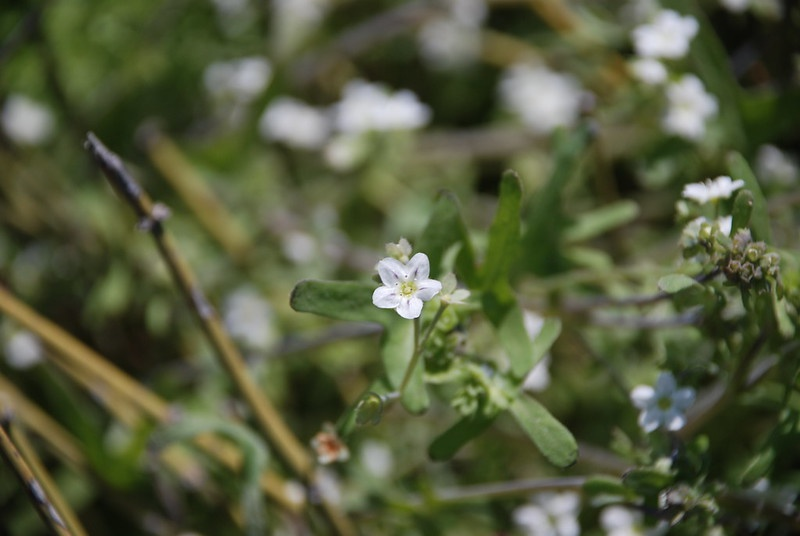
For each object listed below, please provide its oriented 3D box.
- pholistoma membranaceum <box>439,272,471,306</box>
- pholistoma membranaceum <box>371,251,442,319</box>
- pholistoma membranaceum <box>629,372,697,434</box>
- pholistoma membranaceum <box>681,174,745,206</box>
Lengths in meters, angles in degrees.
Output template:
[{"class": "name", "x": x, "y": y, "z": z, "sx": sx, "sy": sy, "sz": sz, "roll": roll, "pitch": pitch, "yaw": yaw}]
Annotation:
[{"class": "pholistoma membranaceum", "x": 0.095, "y": 0.040, "z": 1.862, "sx": 0.060, "sy": 0.029, "sz": 0.060, "roll": -19, "pitch": 96, "yaw": -47}, {"class": "pholistoma membranaceum", "x": 0.015, "y": 0.063, "z": 1.844, "sx": 0.124, "sy": 0.174, "sz": 0.108, "roll": 3, "pitch": 55, "yaw": 3}, {"class": "pholistoma membranaceum", "x": 0.510, "y": 0.268, "z": 1.919, "sx": 0.113, "sy": 0.084, "sz": 0.110, "roll": 28, "pitch": 61, "yaw": 18}, {"class": "pholistoma membranaceum", "x": 0.612, "y": -0.156, "z": 1.926, "sx": 0.070, "sy": 0.024, "sz": 0.076, "roll": 10, "pitch": 45, "yaw": 28}]
